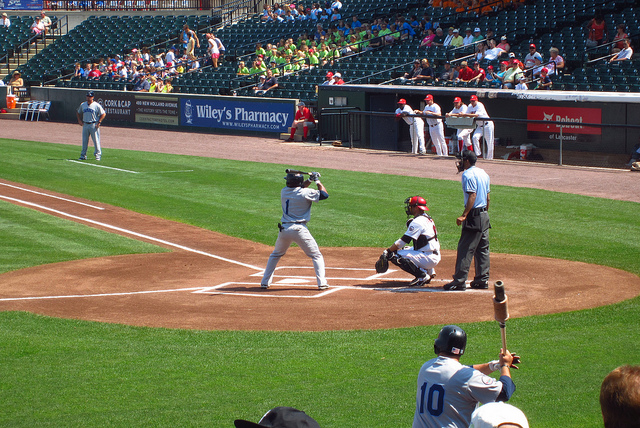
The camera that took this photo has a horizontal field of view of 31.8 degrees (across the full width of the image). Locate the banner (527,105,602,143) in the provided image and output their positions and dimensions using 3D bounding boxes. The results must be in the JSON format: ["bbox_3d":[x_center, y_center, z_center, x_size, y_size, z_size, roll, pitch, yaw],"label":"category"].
[{"bbox_3d":[8.918,-3.406,41.436,3.668,1.812,0.065,6,15,40],"label":"banner"}]

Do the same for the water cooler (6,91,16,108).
[{"bbox_3d":[-16.707,-6.209,60.663,0.508,0.888,0.447,-3,4,-39],"label":"water cooler"}]

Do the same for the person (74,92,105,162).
[{"bbox_3d":[-8.698,-3.286,41.672,1.206,2.876,1.323,0,2,4],"label":"person"}]

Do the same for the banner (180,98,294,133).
[{"bbox_3d":[-4.043,-4.531,51.315,0.256,1.544,7.354,0,1,44],"label":"banner"}]

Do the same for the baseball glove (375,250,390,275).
[{"bbox_3d":[1.612,1.215,28.350,0.318,0.561,0.374,17,12,-35],"label":"baseball glove"}]
